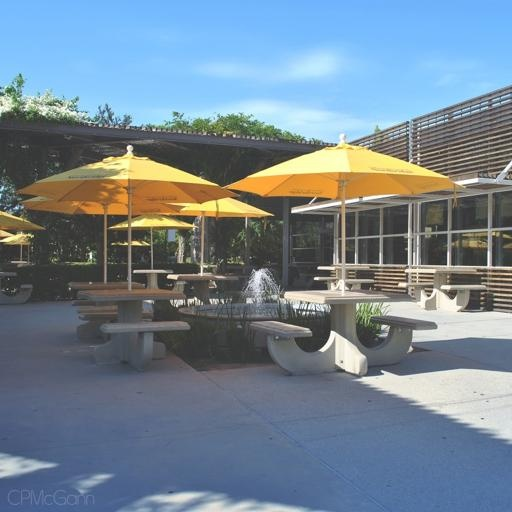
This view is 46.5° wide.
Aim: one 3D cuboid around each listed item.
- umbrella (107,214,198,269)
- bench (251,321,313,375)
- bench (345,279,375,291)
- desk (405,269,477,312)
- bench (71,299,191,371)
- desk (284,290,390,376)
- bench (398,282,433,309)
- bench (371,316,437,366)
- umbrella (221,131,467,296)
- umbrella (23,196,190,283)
[{"bbox_3d":[-2.412,-0.655,13.716,1.700,1.209,1.877,1,0,-3],"label":"umbrella"},{"bbox_3d":[0.194,0.904,5.978,0.407,0.461,1.075,-1,2,-15],"label":"bench"},{"bbox_3d":[2.547,0.672,14.491,0.611,0.147,0.591,1,5,17],"label":"bench"},{"bbox_3d":[3.841,0.655,12.436,1.119,0.880,1.765,-3,2,-28],"label":"desk"},{"bbox_3d":[-1.272,0.861,6.039,0.894,0.759,0.914,1,6,-29],"label":"bench"},{"bbox_3d":[0.823,0.743,6.032,0.838,0.809,0.827,3,-6,-24],"label":"desk"},{"bbox_3d":[3.328,0.805,12.221,0.363,0.435,0.667,-3,3,-17],"label":"bench"},{"bbox_3d":[1.550,0.848,6.157,0.544,0.564,0.581,0,5,-18],"label":"bench"},{"bbox_3d":[0.951,-0.456,6.623,2.099,1.714,2.167,-1,2,-16],"label":"umbrella"},{"bbox_3d":[-2.061,-0.421,8.834,1.869,1.342,1.978,-1,1,-8],"label":"umbrella"}]
